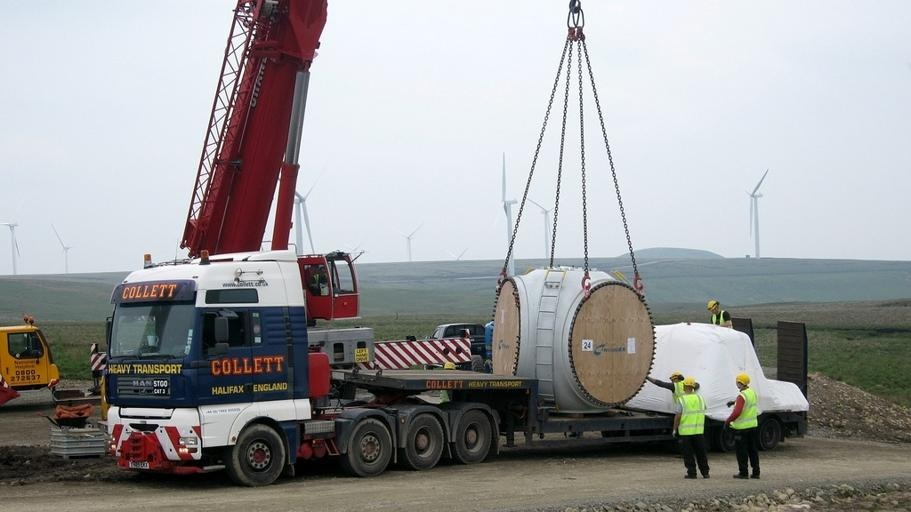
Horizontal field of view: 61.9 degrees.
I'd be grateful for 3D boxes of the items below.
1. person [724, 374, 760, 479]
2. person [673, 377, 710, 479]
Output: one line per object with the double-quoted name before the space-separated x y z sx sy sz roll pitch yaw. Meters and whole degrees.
"person" 8.307 4.927 22.003 0.687 2.898 1.036 -5 -4 32
"person" 6.809 4.972 22.017 0.827 2.804 0.722 -3 -4 15
